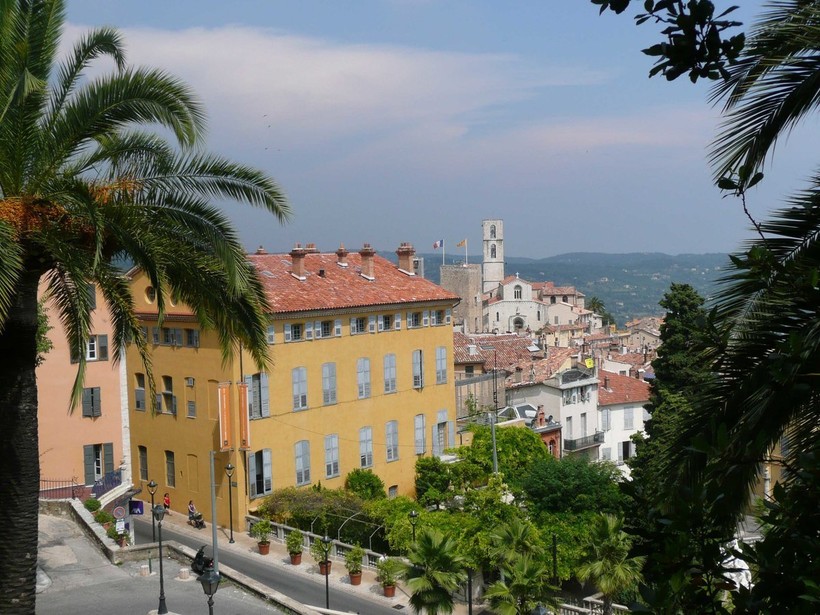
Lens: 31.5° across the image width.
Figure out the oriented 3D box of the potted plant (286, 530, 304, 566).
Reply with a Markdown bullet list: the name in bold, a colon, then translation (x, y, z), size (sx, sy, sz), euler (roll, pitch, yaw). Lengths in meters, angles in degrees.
- **potted plant**: translation (-4.430, 9.052, 55.360), size (0.549, 1.291, 1.395), euler (0, -2, -4)

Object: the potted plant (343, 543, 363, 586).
- **potted plant**: translation (-2.067, 9.390, 53.156), size (0.548, 1.390, 0.874), euler (0, -2, -6)

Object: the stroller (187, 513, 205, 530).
- **stroller**: translation (-8.839, 8.794, 60.334), size (0.499, 0.630, 0.839), euler (2, -3, -42)

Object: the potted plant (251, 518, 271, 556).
- **potted plant**: translation (-5.867, 8.923, 56.962), size (0.727, 1.263, 1.700), euler (0, -2, -5)
